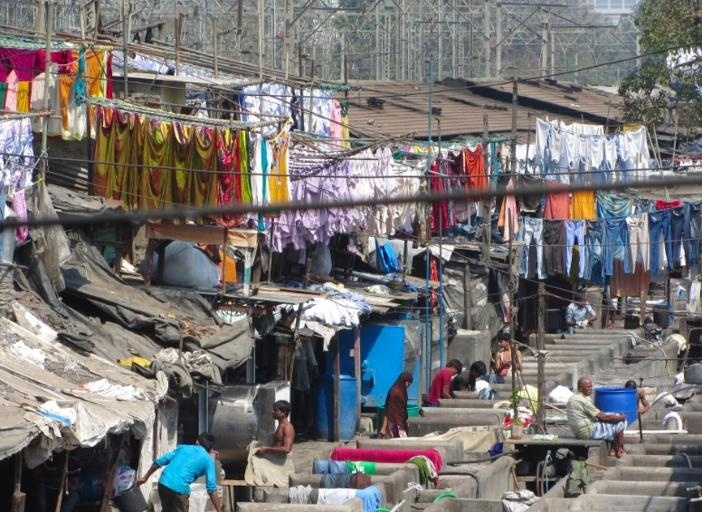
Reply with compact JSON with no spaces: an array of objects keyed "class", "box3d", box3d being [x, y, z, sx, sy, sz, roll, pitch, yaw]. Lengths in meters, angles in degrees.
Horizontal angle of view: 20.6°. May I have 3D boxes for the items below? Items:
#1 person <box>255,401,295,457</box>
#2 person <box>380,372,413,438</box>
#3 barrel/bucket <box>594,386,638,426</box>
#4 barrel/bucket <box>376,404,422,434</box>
[{"class":"person","box3d":[-1.727,3.957,44.681,0.762,1.254,0.393,0,0,-2]},{"class":"person","box3d":[1.127,3.637,47.365,0.746,1.599,0.722,0,0,2]},{"class":"barrel/bucket","box3d":[6.605,3.713,47.745,0.837,1.084,0.931,0,-2,-5]},{"class":"barrel/bucket","box3d":[1.286,4.083,48.682,0.679,0.853,0.781,0,-1,-4]}]
